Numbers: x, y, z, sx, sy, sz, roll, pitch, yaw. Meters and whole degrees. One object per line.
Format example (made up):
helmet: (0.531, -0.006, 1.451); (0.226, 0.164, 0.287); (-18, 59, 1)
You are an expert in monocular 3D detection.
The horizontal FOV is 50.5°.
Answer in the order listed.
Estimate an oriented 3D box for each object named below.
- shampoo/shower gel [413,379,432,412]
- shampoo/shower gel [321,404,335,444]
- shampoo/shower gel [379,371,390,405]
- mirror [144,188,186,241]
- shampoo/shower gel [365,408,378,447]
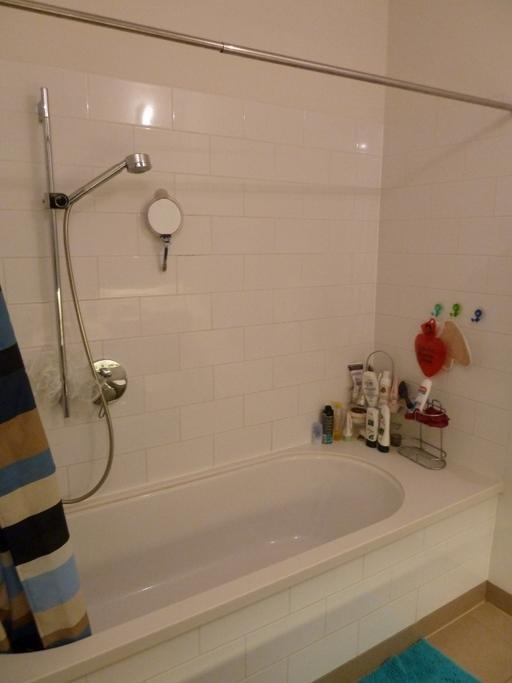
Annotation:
shampoo/shower gel: (0.746, 0.221, 2.417); (0.069, 0.142, 0.193); (4, 17, 19)
shampoo/shower gel: (0.340, 0.393, 2.593); (0.068, 0.189, 0.072); (0, 16, 7)
shampoo/shower gel: (0.608, 0.226, 2.558); (0.041, 0.158, 0.074); (-3, 16, -7)
mirror: (-0.315, -0.465, 1.954); (0.139, 0.161, 0.038); (-12, 15, -37)
shampoo/shower gel: (0.541, 0.406, 2.554); (0.075, 0.184, 0.057); (9, 19, 34)
